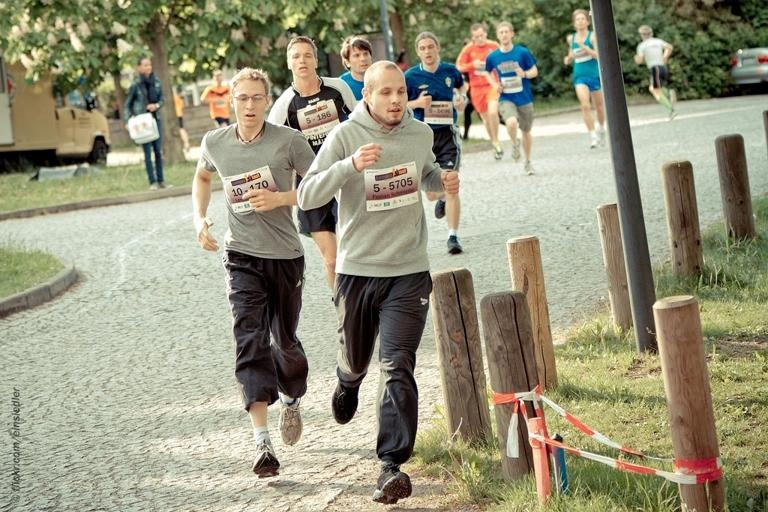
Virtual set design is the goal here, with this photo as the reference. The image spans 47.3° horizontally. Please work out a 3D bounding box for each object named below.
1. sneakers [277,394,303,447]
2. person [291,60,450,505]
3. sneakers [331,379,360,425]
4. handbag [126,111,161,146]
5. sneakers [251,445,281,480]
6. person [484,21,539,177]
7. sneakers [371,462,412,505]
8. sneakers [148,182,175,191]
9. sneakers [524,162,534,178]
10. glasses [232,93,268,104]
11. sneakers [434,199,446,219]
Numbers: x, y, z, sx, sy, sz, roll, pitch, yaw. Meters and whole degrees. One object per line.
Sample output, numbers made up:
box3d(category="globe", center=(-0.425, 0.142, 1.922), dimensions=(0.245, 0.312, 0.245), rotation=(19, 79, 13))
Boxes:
box3d(category="sneakers", center=(-0.732, 1.258, 6.694), dimensions=(0.137, 0.425, 0.161), rotation=(-4, 4, -2))
box3d(category="person", center=(-0.018, 0.129, 6.058), dimensions=(0.999, 2.908, 1.080), rotation=(-5, 7, 4))
box3d(category="sneakers", center=(-0.302, 1.107, 6.594), dimensions=(0.143, 0.400, 0.152), rotation=(-2, 14, -28))
box3d(category="handbag", center=(-4.932, -2.593, 17.806), dimensions=(0.605, 0.614, 0.489), rotation=(-7, 8, -7))
box3d(category="sneakers", center=(-0.848, 1.466, 6.193), dimensions=(0.183, 0.217, 0.456), rotation=(1, -11, -9))
box3d(category="person", center=(2.236, -2.723, 15.382), dimensions=(0.853, 2.641, 0.623), rotation=(-5, 7, 7))
box3d(category="sneakers", center=(0.041, 1.480, 5.708), dimensions=(0.140, 0.199, 0.364), rotation=(17, -31, -21))
box3d(category="sneakers", center=(-4.754, -1.467, 18.605), dimensions=(0.546, 0.231, 0.194), rotation=(-3, 7, 0))
box3d(category="sneakers", center=(2.568, -1.587, 15.663), dimensions=(0.115, 0.154, 0.364), rotation=(-7, 35, 3))
box3d(category="glasses", center=(-1.012, -1.185, 6.575), dimensions=(0.246, 0.064, 0.081), rotation=(-7, 8, -6))
box3d(category="sneakers", center=(0.770, -0.735, 12.413), dimensions=(0.137, 0.413, 0.172), rotation=(0, -28, 6))
